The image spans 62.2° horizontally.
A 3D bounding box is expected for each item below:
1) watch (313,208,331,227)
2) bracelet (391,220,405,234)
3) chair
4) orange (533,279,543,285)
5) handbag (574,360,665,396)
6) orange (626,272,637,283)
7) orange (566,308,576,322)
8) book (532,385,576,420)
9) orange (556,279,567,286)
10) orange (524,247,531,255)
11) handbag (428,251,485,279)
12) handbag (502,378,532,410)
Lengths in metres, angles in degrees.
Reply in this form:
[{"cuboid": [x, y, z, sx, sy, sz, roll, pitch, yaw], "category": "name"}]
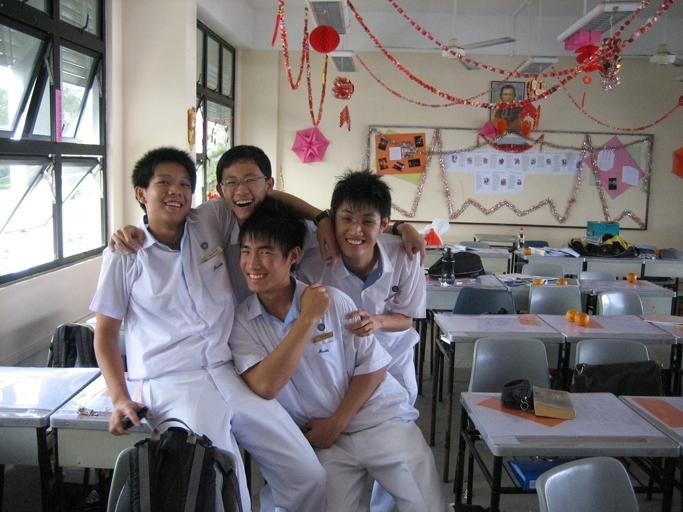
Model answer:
[{"cuboid": [-0.102, -0.194, 2.810, 0.029, 0.082, 0.077, 31, 1, 4], "category": "watch"}, {"cuboid": [0.307, -0.159, 3.085, 0.069, 0.082, 0.055, 1, 8, -7], "category": "bracelet"}, {"cuboid": [1.138, 0.683, 3.267, 1.098, 0.767, 1.209, 1, 16, 2], "category": "chair"}, {"cuboid": [1.661, 0.217, 4.807, 0.066, 0.030, 0.068, 4, 12, 32], "category": "orange"}, {"cuboid": [1.539, 0.679, 3.161, 0.468, 0.202, 0.171, 2, 2, 16], "category": "handbag"}, {"cuboid": [2.720, 0.203, 5.315, 0.048, 0.052, 0.060, 4, 34, 17], "category": "orange"}, {"cuboid": [1.581, 0.410, 3.924, 0.063, 0.084, 0.066, 2, 10, 18], "category": "orange"}, {"cuboid": [1.019, 0.699, 2.724, 0.203, 0.118, 0.168, 2, 2, 11], "category": "book"}, {"cuboid": [1.865, 0.214, 4.786, 0.064, 0.047, 0.067, 1, 0, 14], "category": "orange"}, {"cuboid": [2.062, -0.052, 6.286, 0.076, 0.083, 0.079, 0, 0, -14], "category": "orange"}, {"cuboid": [1.064, 0.089, 5.151, 0.342, 0.138, 0.278, -3, 12, 7], "category": "handbag"}, {"cuboid": [0.847, 0.666, 2.719, 0.133, 0.128, 0.120, -4, 2, 5], "category": "handbag"}]
